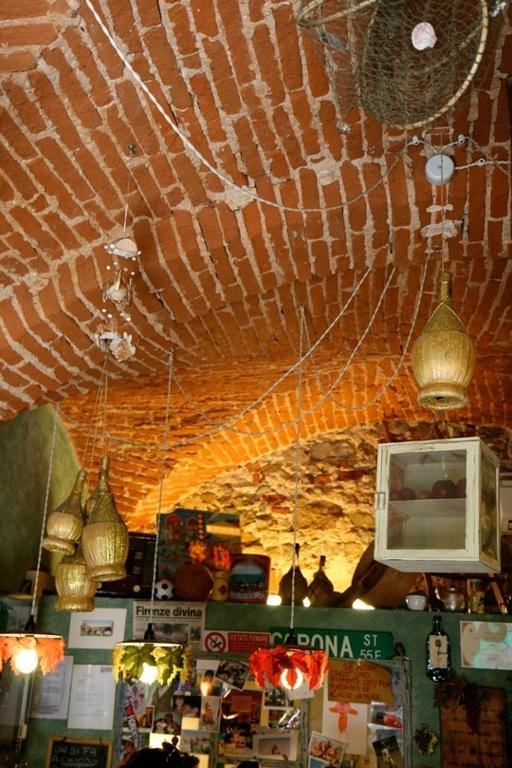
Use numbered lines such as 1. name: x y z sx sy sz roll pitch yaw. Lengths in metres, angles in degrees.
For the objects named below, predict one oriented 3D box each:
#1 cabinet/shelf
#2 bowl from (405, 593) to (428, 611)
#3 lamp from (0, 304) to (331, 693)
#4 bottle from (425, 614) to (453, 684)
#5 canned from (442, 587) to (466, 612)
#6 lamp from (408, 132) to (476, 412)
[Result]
1. cabinet/shelf: 0.622 0.413 2.203 0.408 0.412 0.424 -4 -23 18
2. bowl: 0.968 1.311 3.912 0.116 0.079 0.118 4 -30 2
3. lamp: -0.551 0.706 3.856 2.345 2.179 0.537 6 -19 -4
4. bottle: 1.041 1.505 3.685 0.138 0.356 0.052 0 -23 10
5. canned: 1.205 1.304 3.879 0.161 0.119 0.095 15 -24 -28
6. lamp: 0.628 -0.350 2.211 0.172 1.020 0.527 -3 -23 16
